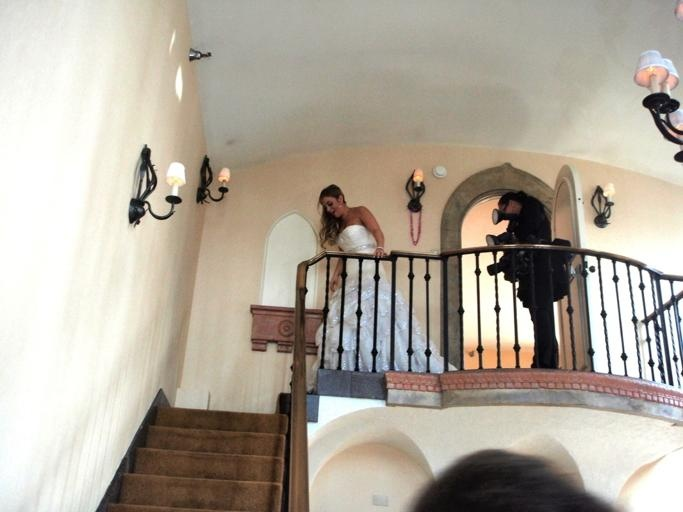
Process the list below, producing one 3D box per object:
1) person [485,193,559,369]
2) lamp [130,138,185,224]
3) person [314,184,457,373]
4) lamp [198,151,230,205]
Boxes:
[{"bbox_3d":[1.945,0.208,5.428,0.595,1.934,0.902,-14,-24,42],"label":"person"},{"bbox_3d":[-1.464,-0.590,4.287,0.419,0.747,0.189,-7,-23,6],"label":"lamp"},{"bbox_3d":[0.307,0.331,5.937,1.376,2.224,0.984,3,-19,-32],"label":"person"},{"bbox_3d":[-1.611,-0.969,6.754,0.349,0.742,0.169,-2,-23,5],"label":"lamp"}]
